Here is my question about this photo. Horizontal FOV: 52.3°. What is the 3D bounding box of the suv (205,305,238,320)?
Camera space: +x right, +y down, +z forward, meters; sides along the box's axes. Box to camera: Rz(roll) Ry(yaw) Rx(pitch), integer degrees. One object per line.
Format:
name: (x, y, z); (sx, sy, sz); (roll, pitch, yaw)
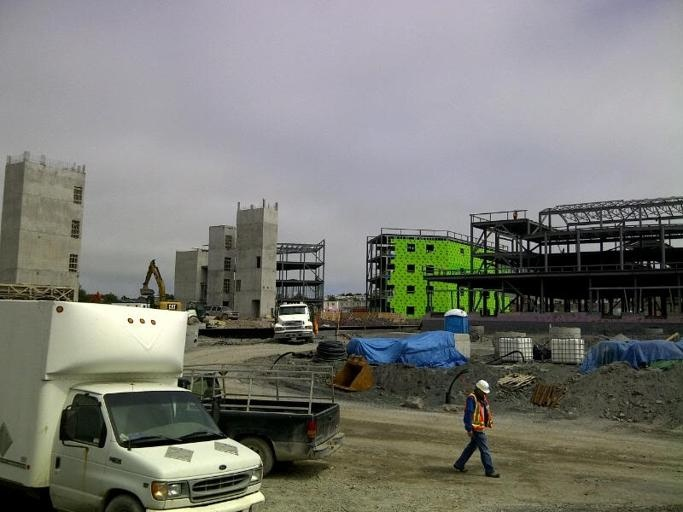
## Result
suv: (-12.159, 5.753, 69.136); (3.097, 1.121, 1.717); (-3, -5, 22)

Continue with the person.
person: (2.994, 3.776, 15.227); (0.838, 1.959, 1.169); (4, -5, -33)

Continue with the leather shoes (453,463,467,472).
leather shoes: (2.661, 4.731, 15.460); (0.343, 0.174, 0.119); (4, 2, 15)

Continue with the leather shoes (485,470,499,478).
leather shoes: (3.269, 4.735, 15.069); (0.304, 0.143, 0.113); (-1, 0, 15)

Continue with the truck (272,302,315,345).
truck: (-2.725, 4.063, 41.742); (2.058, 2.528, 2.651); (0, -2, 1)
